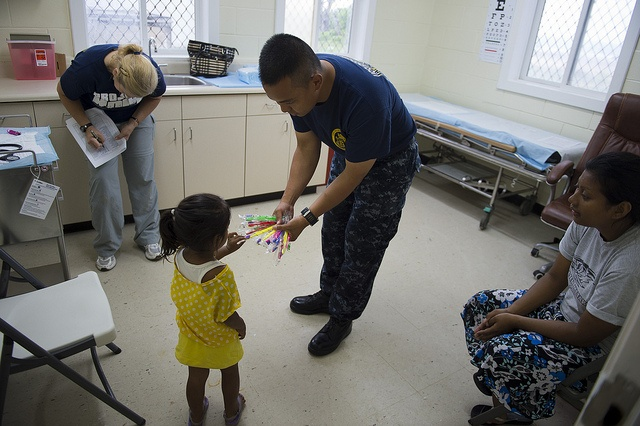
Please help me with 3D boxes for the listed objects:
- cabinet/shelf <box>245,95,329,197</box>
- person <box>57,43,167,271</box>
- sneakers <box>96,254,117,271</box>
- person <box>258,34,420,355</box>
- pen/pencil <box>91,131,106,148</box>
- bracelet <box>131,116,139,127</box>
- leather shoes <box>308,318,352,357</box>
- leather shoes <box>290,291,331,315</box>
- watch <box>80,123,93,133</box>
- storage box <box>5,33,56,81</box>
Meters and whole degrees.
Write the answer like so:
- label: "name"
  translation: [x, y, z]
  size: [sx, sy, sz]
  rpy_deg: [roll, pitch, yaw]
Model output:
- label: "cabinet/shelf"
  translation: [-0.319, -0.553, 3.309]
  size: [0.833, 0.773, 0.317]
  rpy_deg: [-14, 35, -27]
- label: "person"
  translation: [-1.434, -0.417, 3.082]
  size: [0.686, 1.593, 0.552]
  rpy_deg: [-12, 32, -29]
- label: "sneakers"
  translation: [-1.634, 0.383, 3.155]
  size: [0.071, 0.088, 0.194]
  rpy_deg: [1, 2, 3]
- label: "person"
  translation: [0.115, -0.044, 2.503]
  size: [0.838, 1.871, 0.630]
  rpy_deg: [11, 28, 11]
- label: "pen/pencil"
  translation: [-1.569, -0.523, 2.944]
  size: [0.025, 0.158, 0.028]
  rpy_deg: [-24, 33, 32]
- label: "bracelet"
  translation: [-1.376, -0.686, 3.090]
  size: [0.060, 0.057, 0.018]
  rpy_deg: [44, 75, 8]
- label: "leather shoes"
  translation: [0.079, 0.783, 2.763]
  size: [0.142, 0.152, 0.353]
  rpy_deg: [38, 48, 21]
- label: "leather shoes"
  translation: [-0.066, 0.625, 2.978]
  size: [0.337, 0.144, 0.125]
  rpy_deg: [3, 35, -6]
- label: "watch"
  translation: [-1.654, -0.610, 2.936]
  size: [0.078, 0.048, 0.077]
  rpy_deg: [-30, 4, -8]
- label: "storage box"
  translation: [-2.262, -1.233, 3.356]
  size: [0.369, 0.358, 0.367]
  rpy_deg: [-3, 21, -19]
